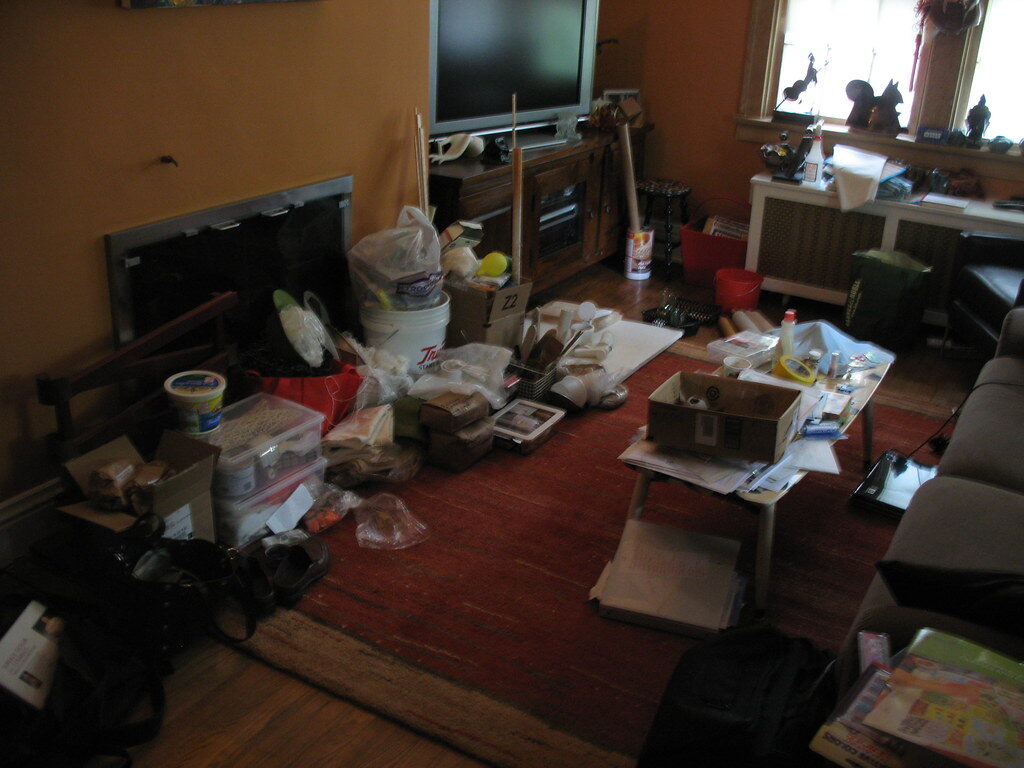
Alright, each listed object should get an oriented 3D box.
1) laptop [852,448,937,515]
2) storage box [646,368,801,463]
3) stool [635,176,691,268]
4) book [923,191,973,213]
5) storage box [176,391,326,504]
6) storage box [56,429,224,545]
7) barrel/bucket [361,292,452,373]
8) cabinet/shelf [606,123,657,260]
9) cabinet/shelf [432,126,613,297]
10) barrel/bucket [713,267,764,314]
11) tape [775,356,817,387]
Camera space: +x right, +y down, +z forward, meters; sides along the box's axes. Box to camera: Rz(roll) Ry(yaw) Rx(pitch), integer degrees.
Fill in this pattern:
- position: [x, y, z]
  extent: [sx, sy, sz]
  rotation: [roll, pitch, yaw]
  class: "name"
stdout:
- position: [1.474, 0.393, 3.145]
  extent: [0.250, 0.061, 0.267]
  rotation: [18, 47, 31]
  class: "laptop"
- position: [0.696, 0.105, 2.641]
  extent: [0.450, 0.180, 0.339]
  rotation: [10, 28, 20]
  class: "storage box"
- position: [1.005, -1.059, 5.323]
  extent: [0.402, 0.520, 0.409]
  rotation: [14, 39, 25]
  class: "stool"
- position: [2.323, -0.971, 4.342]
  extent: [0.153, 0.038, 0.153]
  rotation: [20, 32, 32]
  class: "book"
- position: [-0.876, 0.233, 2.835]
  extent: [0.264, 0.149, 0.373]
  rotation: [23, 35, 30]
  class: "storage box"
- position: [-1.150, 0.348, 2.533]
  extent: [0.394, 0.309, 0.344]
  rotation: [14, 32, 18]
  class: "storage box"
- position: [-0.426, -0.227, 3.546]
  extent: [0.305, 0.339, 0.316]
  rotation: [2, 34, -1]
  class: "barrel/bucket"
- position: [0.767, -1.225, 5.174]
  extent: [0.305, 0.869, 0.309]
  rotation: [-27, 26, -36]
  class: "cabinet/shelf"
- position: [0.147, -0.997, 4.745]
  extent: [0.405, 0.771, 1.663]
  rotation: [25, 37, 32]
  class: "cabinet/shelf"
- position: [1.297, -0.525, 4.732]
  extent: [0.254, 0.204, 0.240]
  rotation: [0, 27, 0]
  class: "barrel/bucket"
- position: [1.100, -0.045, 3.121]
  extent: [0.124, 0.031, 0.116]
  rotation: [20, 30, 32]
  class: "tape"
